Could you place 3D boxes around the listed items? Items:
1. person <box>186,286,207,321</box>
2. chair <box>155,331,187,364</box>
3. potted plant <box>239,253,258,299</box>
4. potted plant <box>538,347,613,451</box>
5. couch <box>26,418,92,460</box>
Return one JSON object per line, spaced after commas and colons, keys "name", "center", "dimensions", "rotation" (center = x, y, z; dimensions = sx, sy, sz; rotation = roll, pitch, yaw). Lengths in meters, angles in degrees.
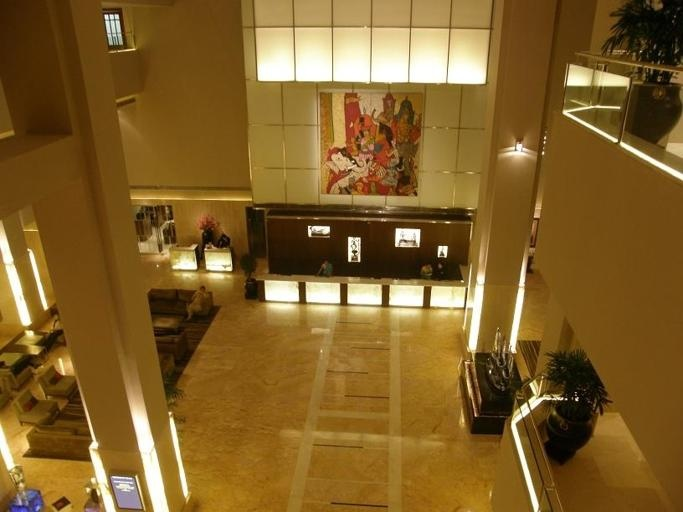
{"name": "person", "center": [-4.491, 1.474, 15.393], "dimensions": [0.465, 1.231, 0.626], "rotation": [7, -9, -4]}
{"name": "chair", "center": [-4.685, 2.467, 13.569], "dimensions": [0.789, 0.830, 0.748], "rotation": [2, 37, 5]}
{"name": "potted plant", "center": [-3.174, 0.624, 16.873], "dimensions": [0.499, 1.317, 1.726], "rotation": [-2, 19, -11]}
{"name": "potted plant", "center": [3.495, 2.340, 7.472], "dimensions": [0.759, 1.560, 0.631], "rotation": [0, 18, -5]}
{"name": "couch", "center": [-6.142, 4.091, 10.770], "dimensions": [1.488, 0.679, 0.412], "rotation": [3, 18, 3]}
